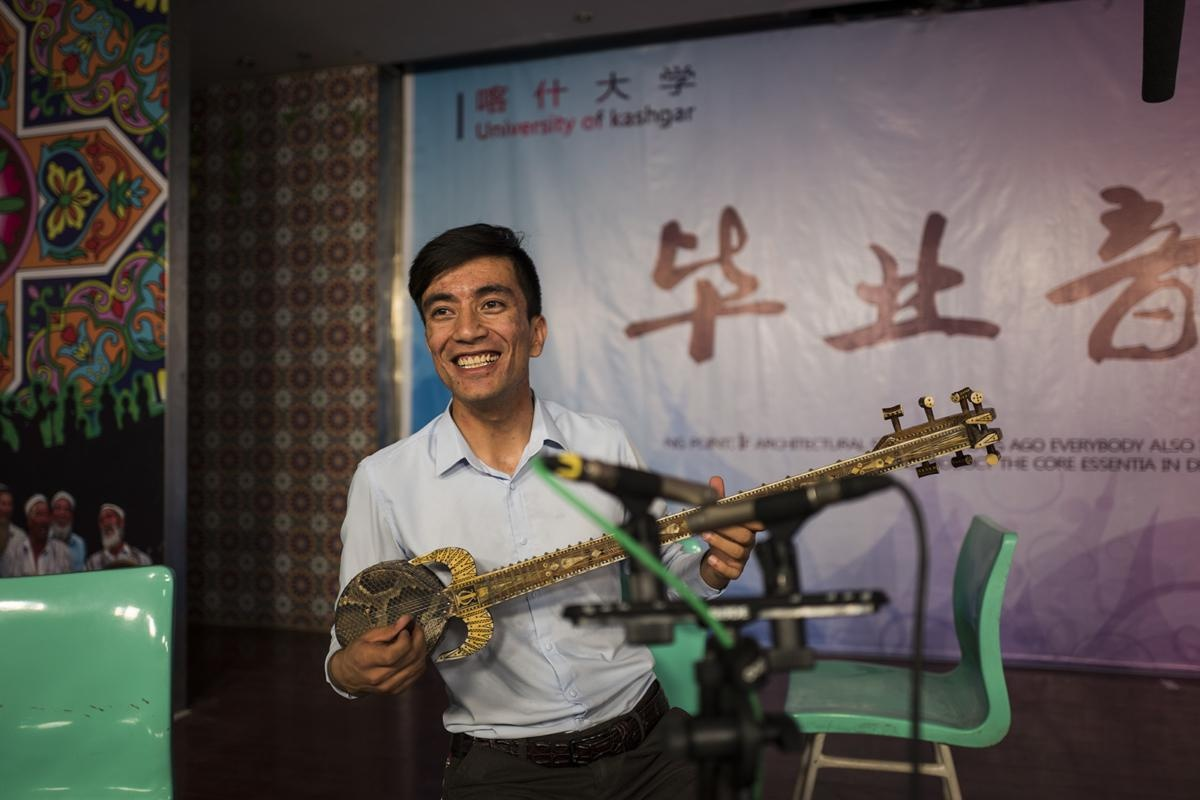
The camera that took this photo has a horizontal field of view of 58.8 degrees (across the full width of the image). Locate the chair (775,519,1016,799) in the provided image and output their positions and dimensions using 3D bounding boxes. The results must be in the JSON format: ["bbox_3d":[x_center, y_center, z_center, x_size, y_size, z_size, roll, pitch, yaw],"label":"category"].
[{"bbox_3d":[1.452,1.130,4.856,1.105,1.580,1.094,3,-6,6],"label":"chair"}]

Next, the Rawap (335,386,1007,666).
[{"bbox_3d":[0.468,0.421,4.657,2.458,0.549,2.918,-4,2,10],"label":"Rawap"}]

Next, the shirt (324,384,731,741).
[{"bbox_3d":[-0.335,0.631,4.381,1.882,1.643,1.061,-5,-5,-7],"label":"shirt"}]
